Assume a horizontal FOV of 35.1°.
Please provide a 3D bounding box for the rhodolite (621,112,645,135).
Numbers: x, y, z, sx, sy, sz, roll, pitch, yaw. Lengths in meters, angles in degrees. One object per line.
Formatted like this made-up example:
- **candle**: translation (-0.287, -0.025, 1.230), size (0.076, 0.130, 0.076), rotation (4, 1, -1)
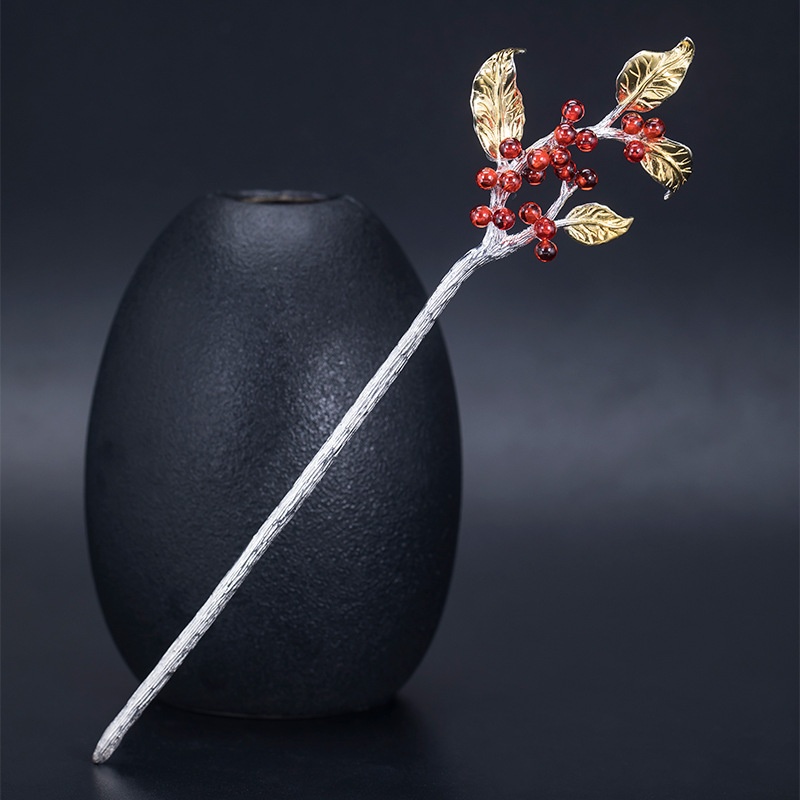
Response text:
- **rhodolite**: translation (0.213, -0.257, 1.164), size (0.020, 0.021, 0.032), rotation (4, 12, 6)

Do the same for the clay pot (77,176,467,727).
- **clay pot**: translation (-0.172, 0.064, 1.397), size (0.448, 0.521, 0.424), rotation (4, 9, -1)

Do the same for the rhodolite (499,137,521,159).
- **rhodolite**: translation (0.099, -0.229, 1.145), size (0.021, 0.019, 0.018), rotation (14, -40, 11)

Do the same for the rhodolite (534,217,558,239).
- **rhodolite**: translation (0.133, -0.159, 1.154), size (0.023, 0.021, 0.015), rotation (9, 14, 26)

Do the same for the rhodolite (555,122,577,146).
- **rhodolite**: translation (0.149, -0.242, 1.143), size (0.019, 0.021, 0.015), rotation (3, 13, 1)

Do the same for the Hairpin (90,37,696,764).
- **Hairpin**: translation (-0.079, -0.034, 1.262), size (0.287, 0.856, 0.152), rotation (44, -2, -7)
